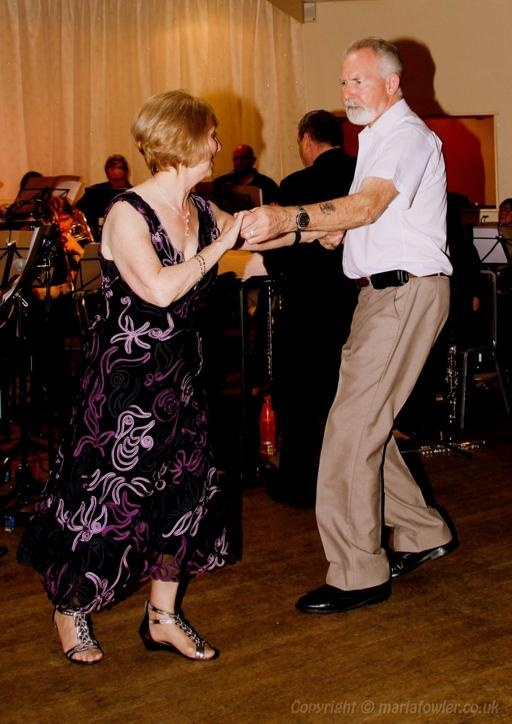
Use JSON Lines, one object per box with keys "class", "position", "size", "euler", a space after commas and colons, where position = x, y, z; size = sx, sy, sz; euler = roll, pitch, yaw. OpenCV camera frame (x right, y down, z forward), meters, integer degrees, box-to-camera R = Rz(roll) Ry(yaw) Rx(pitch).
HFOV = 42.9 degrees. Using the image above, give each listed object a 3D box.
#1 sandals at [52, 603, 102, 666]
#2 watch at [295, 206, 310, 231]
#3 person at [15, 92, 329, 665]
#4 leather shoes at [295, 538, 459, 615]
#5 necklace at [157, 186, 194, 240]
{"class": "sandals", "position": [-0.471, 0.701, 1.711], "size": [0.077, 0.075, 0.202], "euler": [-6, 10, -28]}
{"class": "watch", "position": [0.125, -0.383, 1.750], "size": [0.040, 0.055, 0.054], "euler": [-3, 15, -28]}
{"class": "person", "position": [-0.302, 0.075, 1.596], "size": [0.580, 1.409, 0.368], "euler": [-2, 4, -2]}
{"class": "leather shoes", "position": [0.397, 0.678, 2.155], "size": [0.596, 0.223, 0.184], "euler": [-8, 9, -25]}
{"class": "necklace", "position": [-0.195, -0.364, 1.569], "size": [0.043, 0.039, 0.131], "euler": [-19, 47, -17]}
